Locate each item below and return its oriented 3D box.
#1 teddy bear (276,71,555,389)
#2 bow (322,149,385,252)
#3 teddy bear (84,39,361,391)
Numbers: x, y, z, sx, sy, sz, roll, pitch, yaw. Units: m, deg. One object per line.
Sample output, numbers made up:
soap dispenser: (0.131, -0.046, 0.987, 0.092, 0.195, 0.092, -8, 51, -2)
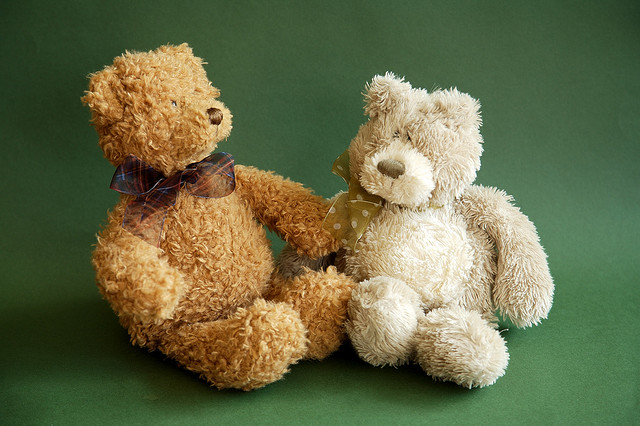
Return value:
teddy bear: (0.330, 0.028, 2.840, 1.060, 0.984, 0.643, 12, 32, 23)
bow: (0.111, -0.008, 2.807, 0.311, 0.288, 0.103, 15, -12, 24)
teddy bear: (-0.369, -0.009, 2.835, 0.959, 1.103, 1.021, -19, 35, -38)
